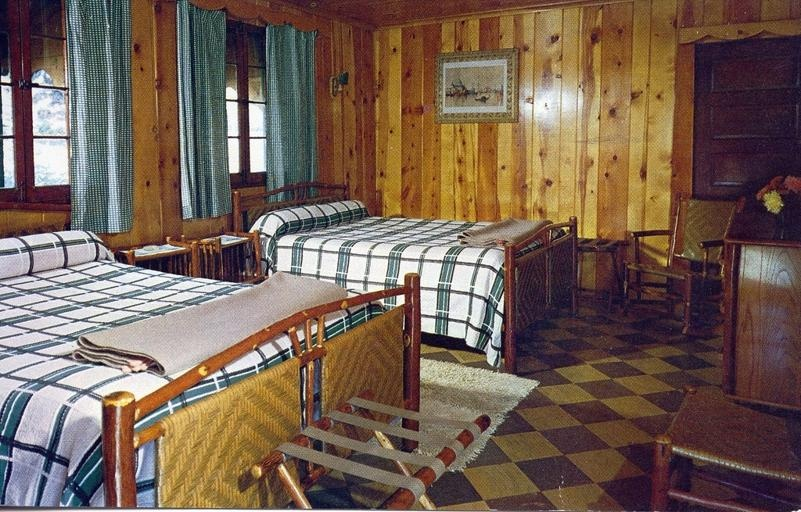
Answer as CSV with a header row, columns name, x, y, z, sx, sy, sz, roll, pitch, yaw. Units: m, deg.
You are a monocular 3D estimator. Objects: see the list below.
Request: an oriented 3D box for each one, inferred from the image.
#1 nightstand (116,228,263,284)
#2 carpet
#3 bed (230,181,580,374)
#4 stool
name,x,y,z,sx,sy,sz,roll,pitch,yaw
nightstand,-1.864,-0.032,5.239,0.657,0.487,0.668,4,11,32
carpet,0.333,0.988,3.554,0.658,0.041,0.671,6,14,29
bed,-0.002,-0.035,5.409,2.563,1.158,1.965,7,18,24
stool,-0.117,0.914,2.674,0.670,0.286,0.820,9,14,25
